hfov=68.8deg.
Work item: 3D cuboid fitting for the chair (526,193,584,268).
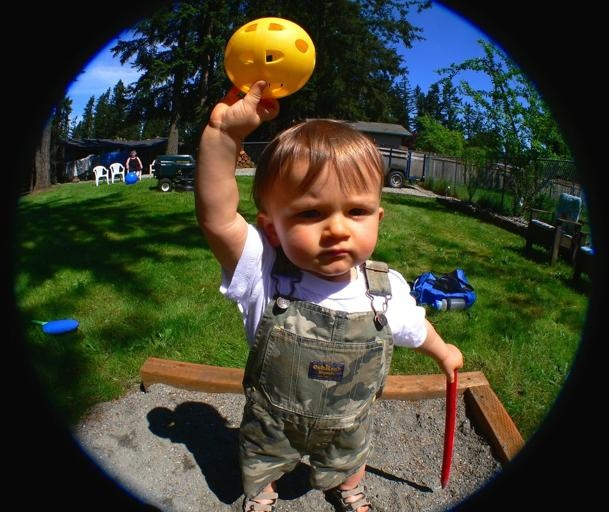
[{"bbox_3d":[4.291,-0.502,7.611,0.624,1.098,0.864,6,16,3],"label":"chair"}]

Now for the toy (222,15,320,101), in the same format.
[{"bbox_3d":[-0.143,-0.699,1.694,0.240,0.294,0.327,-1,2,-26],"label":"toy"}]
